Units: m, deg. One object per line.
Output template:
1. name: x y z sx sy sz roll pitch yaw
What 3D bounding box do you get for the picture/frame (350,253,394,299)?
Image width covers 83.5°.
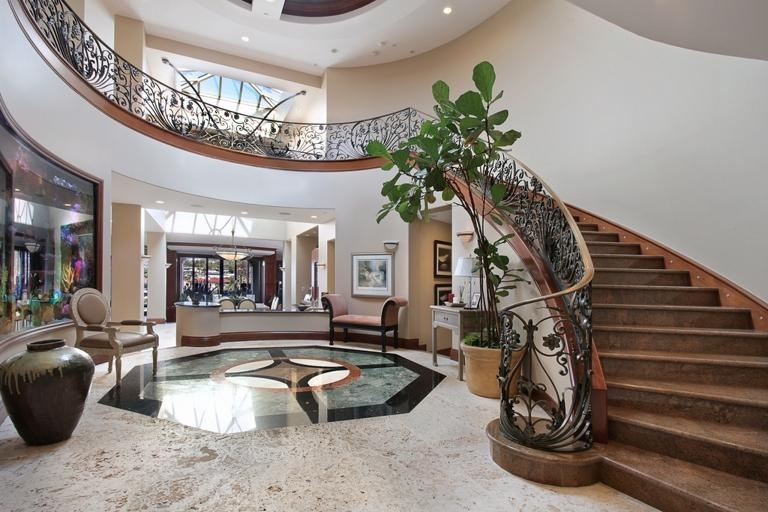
1. picture/frame: -0.231 0.437 9.993 1.052 1.015 0.104 0 -4 26

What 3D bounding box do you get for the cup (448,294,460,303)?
1. cup: 1.297 0.758 7.859 0.130 0.233 0.231 -1 -1 6

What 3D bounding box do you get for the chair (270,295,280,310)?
1. chair: -3.141 1.385 12.272 0.168 0.365 2.025 -1 4 -16

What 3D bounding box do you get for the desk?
1. desk: 1.158 1.254 7.237 0.959 1.286 1.367 4 -4 -23

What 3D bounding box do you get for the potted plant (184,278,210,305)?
1. potted plant: -7.964 1.446 18.124 0.829 0.918 0.841 4 -9 -41
